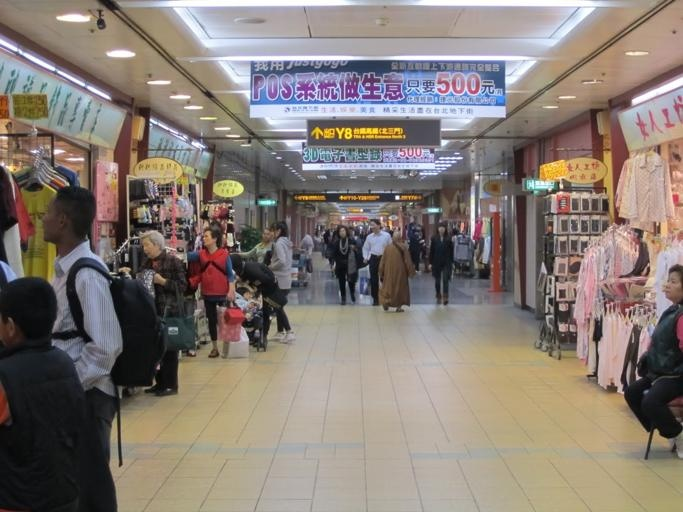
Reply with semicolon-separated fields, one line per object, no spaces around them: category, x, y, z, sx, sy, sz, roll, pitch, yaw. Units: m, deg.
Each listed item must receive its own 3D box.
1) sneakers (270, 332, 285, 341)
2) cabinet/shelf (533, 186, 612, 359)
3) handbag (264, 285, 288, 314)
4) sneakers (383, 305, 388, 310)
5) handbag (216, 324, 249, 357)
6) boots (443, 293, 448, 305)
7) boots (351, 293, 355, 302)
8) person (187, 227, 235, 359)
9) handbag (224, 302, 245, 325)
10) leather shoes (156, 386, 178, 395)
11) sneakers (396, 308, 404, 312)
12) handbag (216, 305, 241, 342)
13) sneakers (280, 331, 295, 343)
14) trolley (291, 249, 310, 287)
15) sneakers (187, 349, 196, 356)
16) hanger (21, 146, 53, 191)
sneakers;-1.000;1.292;8.123;0.211;0.087;0.114;2;-1;17
cabinet/shelf;3.542;0.146;7.462;0.909;2.450;1.077;-2;4;-2
handbag;-1.004;0.657;7.636;0.337;0.421;0.248;-20;25;7
sneakers;0.969;1.142;11.106;0.121;0.109;0.240;0;3;3
handbag;-1.521;1.239;7.296;0.471;0.517;0.306;3;1;-10
boots;2.407;1.015;11.842;0.091;0.236;0.161;0;3;11
boots;0.284;1.032;12.415;0.066;0.204;0.078;-3;11;1
person;-1.789;0.506;7.015;0.594;1.845;0.455;-1;3;-17
handbag;-1.465;0.809;7.032;0.247;0.247;0.240;2;3;1
leather shoes;-1.871;1.467;5.495;0.213;0.093;0.081;4;0;-7
sneakers;1.256;1.171;11.006;0.166;0.065;0.286;0;3;4
handbag;-1.545;0.957;6.999;0.403;0.581;0.438;1;-5;-6
sneakers;-0.853;1.284;7.999;0.109;0.140;0.317;0;2;-29
trolley;-1.297;0.467;16.256;0.757;0.943;1.052;0;-12;-1
sneakers;-2.144;1.400;7.296;0.087;0.041;0.124;1;11;-3
hanger;-2.940;-0.857;4.948;0.241;0.375;0.147;-2;6;-2
